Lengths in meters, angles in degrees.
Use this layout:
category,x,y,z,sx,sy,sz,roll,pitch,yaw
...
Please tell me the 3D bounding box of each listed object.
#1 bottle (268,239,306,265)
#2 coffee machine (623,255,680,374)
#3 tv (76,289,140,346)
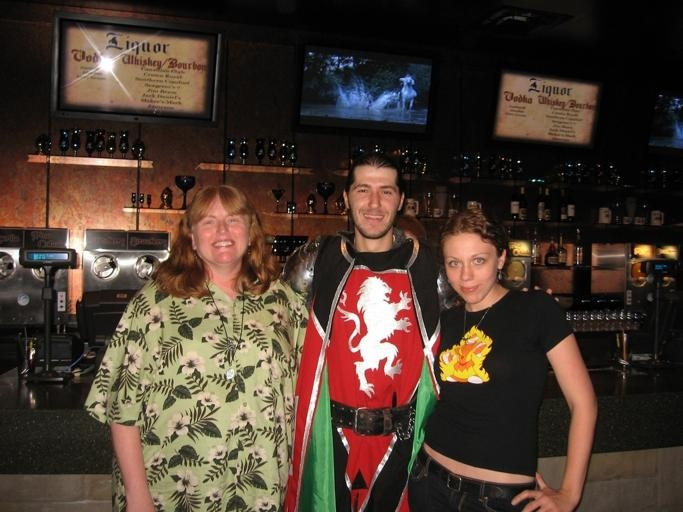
category,x,y,z,sx,sy,sz,roll,pitch,yaw
bottle,-0.532,-0.082,6.270,0.352,0.240,0.250,0,-2,-4
coffee machine,2.288,0.413,4.597,0.339,0.749,0.639,3,6,28
tv,-1.664,0.420,4.586,0.560,0.384,0.440,-2,-4,6
